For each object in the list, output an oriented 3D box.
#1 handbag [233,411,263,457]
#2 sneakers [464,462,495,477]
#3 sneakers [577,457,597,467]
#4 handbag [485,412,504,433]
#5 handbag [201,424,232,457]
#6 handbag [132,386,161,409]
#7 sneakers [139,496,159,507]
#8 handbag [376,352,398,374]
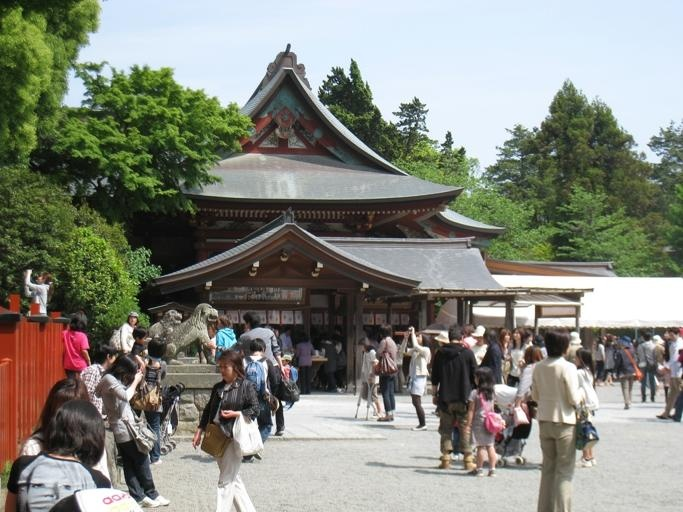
[{"bbox_3d":[-1.179,2.236,10.744,0.366,0.491,0.219,-1,6,-36],"label":"handbag"},{"bbox_3d":[2.151,3.254,13.077,0.355,0.149,0.186,3,-8,-4],"label":"sneakers"},{"bbox_3d":[3.958,3.330,13.831,0.345,0.153,0.122,3,-3,-1],"label":"sneakers"},{"bbox_3d":[2.290,2.523,12.941,0.235,0.333,0.141,-4,-29,-5],"label":"handbag"},{"bbox_3d":[-1.558,2.305,10.736,0.299,0.428,0.218,10,-20,19],"label":"handbag"},{"bbox_3d":[-2.772,2.076,12.217,0.418,0.427,0.234,4,-17,-12],"label":"handbag"},{"bbox_3d":[-2.543,3.237,11.268,0.208,0.090,0.103,3,1,-4],"label":"sneakers"},{"bbox_3d":[0.924,2.232,17.909,0.327,0.392,0.186,-11,-21,4],"label":"handbag"}]
